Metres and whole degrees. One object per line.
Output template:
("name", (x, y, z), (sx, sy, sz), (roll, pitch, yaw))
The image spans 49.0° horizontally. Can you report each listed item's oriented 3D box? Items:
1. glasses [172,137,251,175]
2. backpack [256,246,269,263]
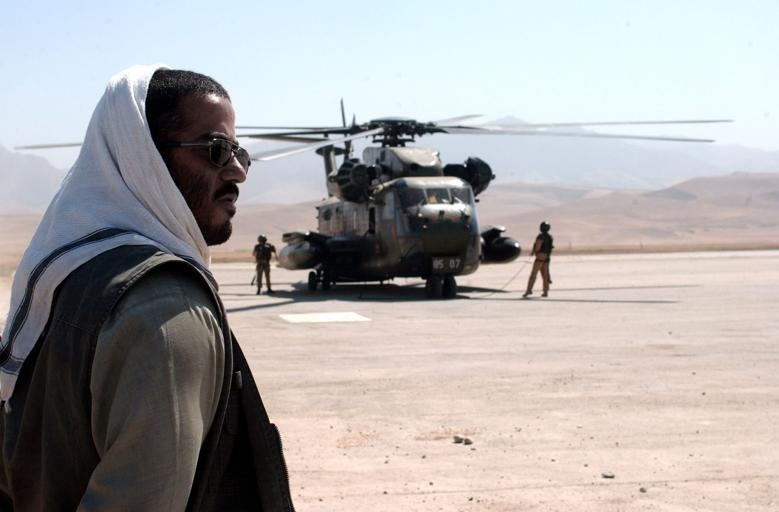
("glasses", (-0.573, -0.345, 2.829), (0.228, 0.062, 0.212), (3, 2, 32))
("backpack", (-2.972, -0.011, 20.541), (0.435, 0.351, 0.394), (-1, -4, 20))
